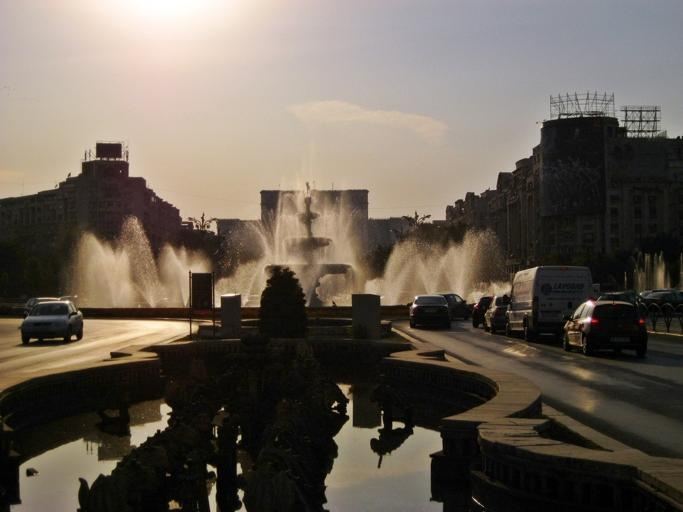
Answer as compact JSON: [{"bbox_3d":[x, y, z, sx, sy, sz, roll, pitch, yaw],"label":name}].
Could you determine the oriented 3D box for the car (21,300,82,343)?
[{"bbox_3d":[-11.897,2.757,33.892,2.082,1.622,2.760,-1,-1,-3],"label":"car"}]

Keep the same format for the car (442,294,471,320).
[{"bbox_3d":[7.380,3.320,52.336,2.371,1.337,1.441,-4,4,-37],"label":"car"}]

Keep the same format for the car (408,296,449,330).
[{"bbox_3d":[4.331,2.902,40.700,1.360,1.121,3.299,-1,2,4],"label":"car"}]
